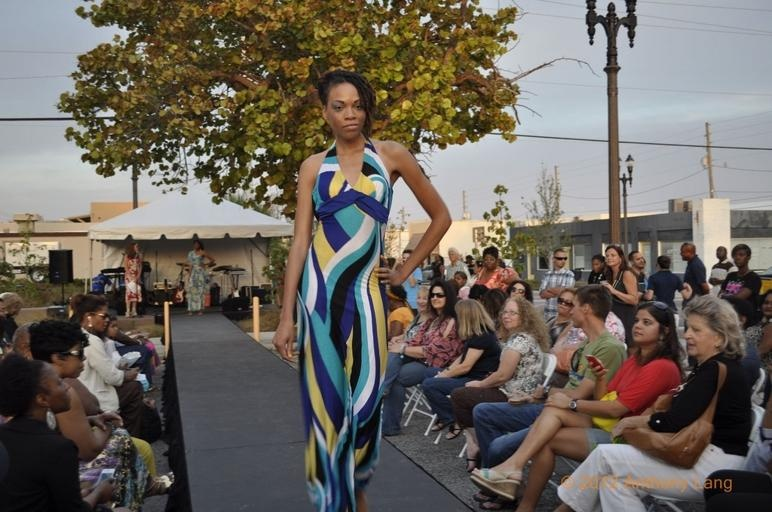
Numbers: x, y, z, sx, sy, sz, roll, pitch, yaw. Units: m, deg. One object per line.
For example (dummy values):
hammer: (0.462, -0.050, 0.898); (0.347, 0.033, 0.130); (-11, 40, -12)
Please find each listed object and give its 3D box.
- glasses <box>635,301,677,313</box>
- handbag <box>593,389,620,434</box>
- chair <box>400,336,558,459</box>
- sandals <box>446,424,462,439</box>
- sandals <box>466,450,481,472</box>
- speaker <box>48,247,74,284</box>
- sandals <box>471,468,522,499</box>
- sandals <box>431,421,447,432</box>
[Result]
glasses: (2.184, 0.426, 5.646); (0.166, 0.067, 0.254); (0, -3, -38)
handbag: (1.823, 1.268, 5.620); (0.104, 0.289, 0.220); (27, -1, -20)
chair: (0.978, 1.751, 8.332); (1.364, 1.875, 1.065); (12, -11, -37)
sandals: (0.759, 1.982, 7.786); (0.115, 0.118, 0.276); (-5, -3, 18)
sandals: (0.865, 2.001, 6.784); (0.090, 0.243, 0.064); (-1, -3, 40)
speaker: (-8.662, 0.288, 18.452); (0.537, 0.878, 0.608); (-1, -2, -28)
sandals: (0.908, 1.867, 5.734); (0.428, 0.184, 0.199); (19, -10, 8)
sandals: (0.603, 1.994, 8.034); (0.115, 0.099, 0.270); (-1, -5, 5)
